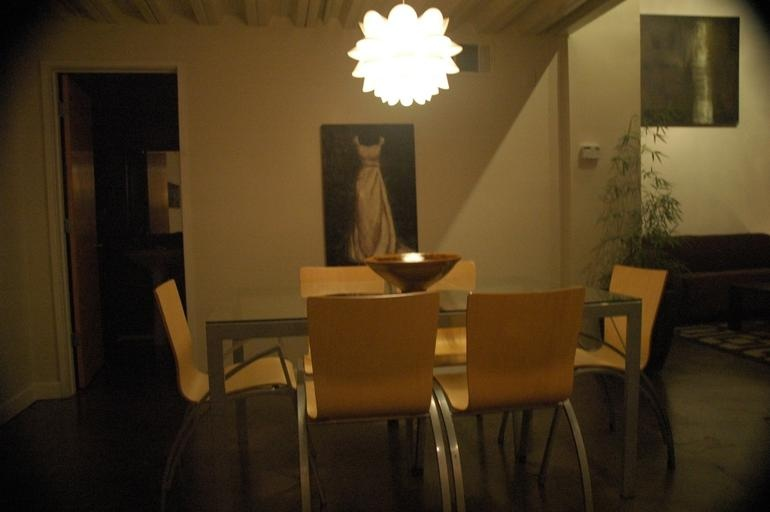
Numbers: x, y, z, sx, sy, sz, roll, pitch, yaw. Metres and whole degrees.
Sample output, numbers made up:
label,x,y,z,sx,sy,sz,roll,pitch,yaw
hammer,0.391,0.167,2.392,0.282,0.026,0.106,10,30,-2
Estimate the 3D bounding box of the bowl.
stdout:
label,x,y,z,sx,sy,sz,roll,pitch,yaw
bowl,0.204,0.139,4.297,0.679,0.267,0.724,-3,4,0
